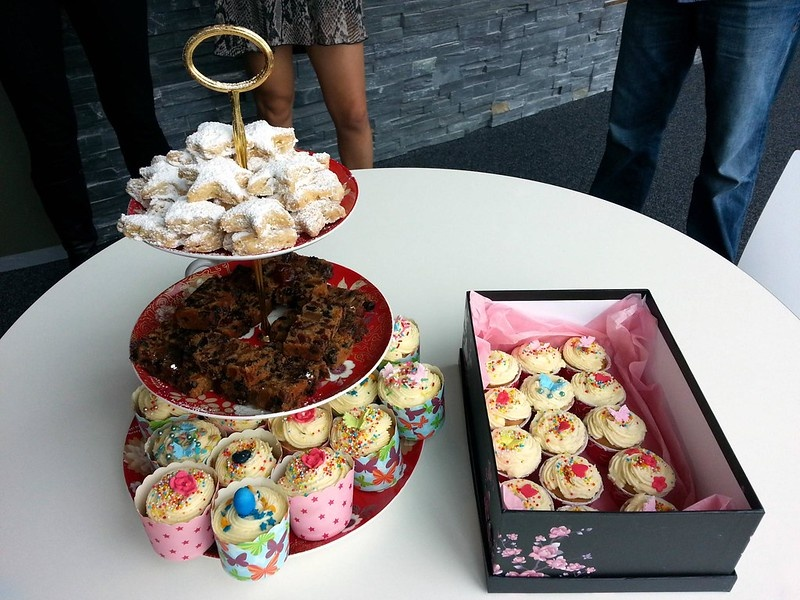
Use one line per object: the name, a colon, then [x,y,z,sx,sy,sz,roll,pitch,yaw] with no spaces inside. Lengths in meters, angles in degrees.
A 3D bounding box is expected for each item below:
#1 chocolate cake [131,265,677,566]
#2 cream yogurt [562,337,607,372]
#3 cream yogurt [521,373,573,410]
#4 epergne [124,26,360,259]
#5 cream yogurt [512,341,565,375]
chocolate cake: [0.050,0.198,1.167,0.935,0.169,0.506,-1,40,2]
cream yogurt: [0.408,0.124,1.303,0.079,0.037,0.078,-13,51,-12]
cream yogurt: [0.316,0.194,1.251,0.081,0.028,0.082,-36,57,-25]
epergne: [-0.273,-0.246,0.948,0.401,0.298,0.291,-3,49,-4]
cream yogurt: [0.304,0.128,1.295,0.079,0.034,0.084,12,39,14]
